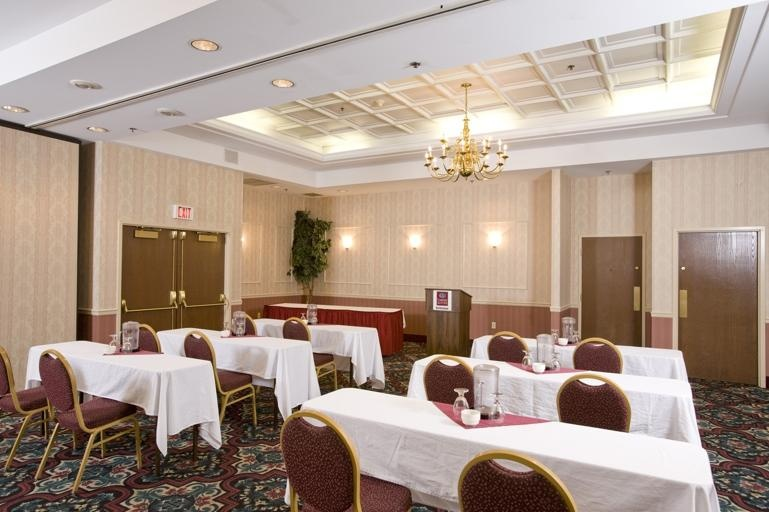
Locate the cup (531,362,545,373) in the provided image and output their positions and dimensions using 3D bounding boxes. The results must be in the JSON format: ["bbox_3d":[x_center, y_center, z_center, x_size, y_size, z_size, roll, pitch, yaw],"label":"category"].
[{"bbox_3d":[1.811,1.317,5.855,0.119,0.092,0.123,0,-3,0],"label":"cup"}]

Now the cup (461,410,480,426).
[{"bbox_3d":[0.769,1.445,4.436,0.126,0.087,0.139,1,-9,-8],"label":"cup"}]

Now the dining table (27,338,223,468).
[{"bbox_3d":[-3.263,1.741,6.139,2.336,0.885,0.857,2,-7,23],"label":"dining table"}]

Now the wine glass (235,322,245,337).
[{"bbox_3d":[-2.177,1.102,7.450,0.172,0.277,0.173,2,-4,-15],"label":"wine glass"}]

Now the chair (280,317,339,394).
[{"bbox_3d":[-1.305,1.724,8.277,0.960,1.372,0.913,1,1,-35],"label":"chair"}]

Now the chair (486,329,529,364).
[{"bbox_3d":[1.674,1.185,6.814,0.398,0.698,0.419,2,4,32],"label":"chair"}]

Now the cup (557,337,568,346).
[{"bbox_3d":[2.493,1.204,6.965,0.098,0.077,0.101,2,-6,0],"label":"cup"}]

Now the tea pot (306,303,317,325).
[{"bbox_3d":[-1.351,1.074,9.114,0.262,0.439,0.262,0,-9,0],"label":"tea pot"}]

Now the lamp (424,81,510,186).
[{"bbox_3d":[1.506,-2.361,9.304,1.525,1.822,1.556,-1,4,4],"label":"lamp"}]

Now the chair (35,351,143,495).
[{"bbox_3d":[-3.403,1.780,5.691,0.811,1.428,0.968,-1,-1,19],"label":"chair"}]
